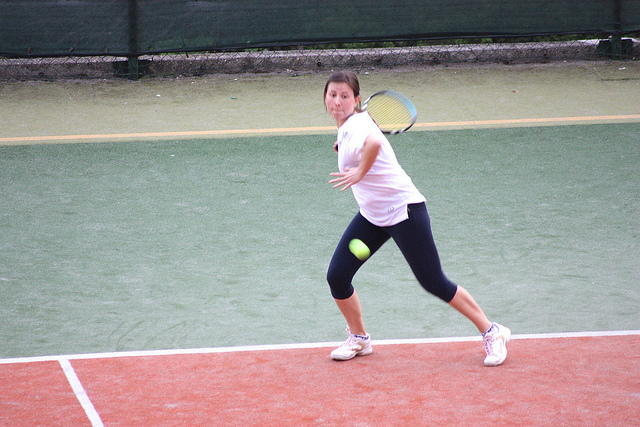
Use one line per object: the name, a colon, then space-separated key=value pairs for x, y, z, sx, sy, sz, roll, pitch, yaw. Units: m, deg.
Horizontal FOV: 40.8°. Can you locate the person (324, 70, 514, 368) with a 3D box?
person: x=0.752 y=0.049 z=8.013 sx=1.570 sy=2.776 sz=0.751 roll=-5 pitch=11 yaw=-1
